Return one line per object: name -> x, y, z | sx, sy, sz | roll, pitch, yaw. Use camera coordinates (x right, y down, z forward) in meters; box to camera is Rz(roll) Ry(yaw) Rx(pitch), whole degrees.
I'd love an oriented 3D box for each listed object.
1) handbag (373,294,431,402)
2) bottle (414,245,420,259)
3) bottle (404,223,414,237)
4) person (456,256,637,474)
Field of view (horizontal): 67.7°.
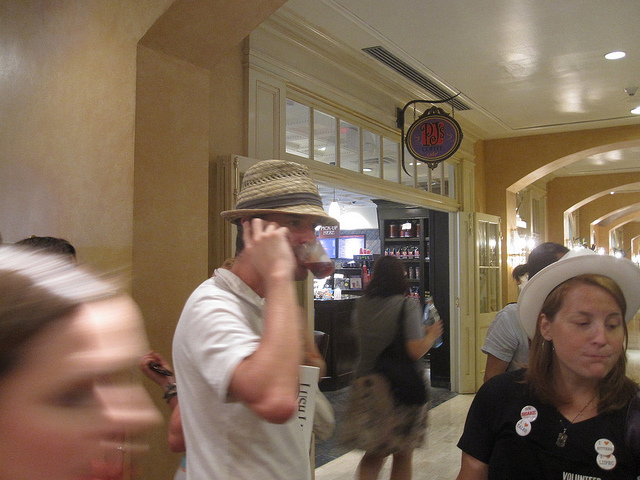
handbag -> 0.547, 0.698, 3.060 | 0.411, 0.673, 0.174 | 1, -3, -39
bottle -> 1.835, 0.226, 9.072 | 0.085, 0.237, 0.234 | 0, -2, 3
bottle -> 1.753, -0.161, 9.365 | 0.236, 0.218, 0.152 | -1, -5, 16
person -> 1.313, 0.549, 2.733 | 0.736, 0.486, 1.482 | -14, -33, 20
